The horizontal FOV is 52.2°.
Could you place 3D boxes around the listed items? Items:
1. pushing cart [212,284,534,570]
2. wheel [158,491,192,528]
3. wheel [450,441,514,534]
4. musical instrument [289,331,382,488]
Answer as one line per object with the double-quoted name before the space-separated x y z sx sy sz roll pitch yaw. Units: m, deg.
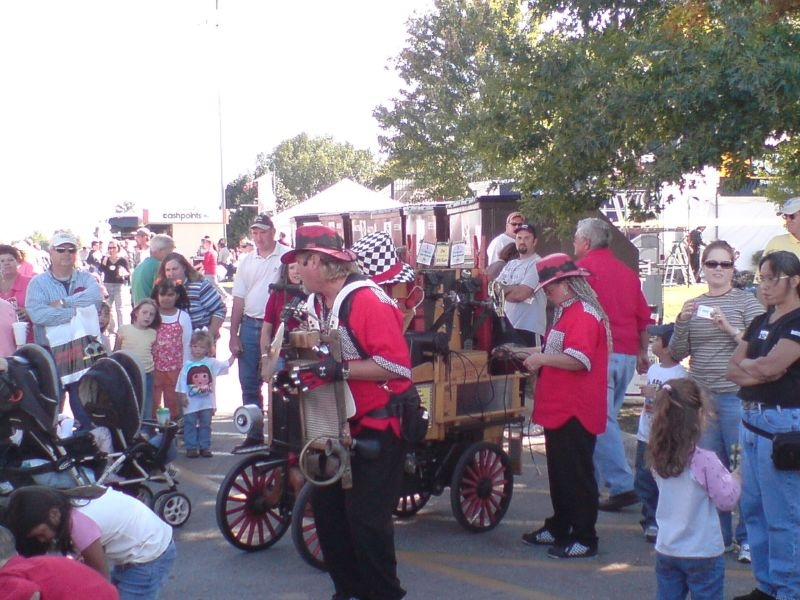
"pushing cart" -0.012 0.717 6.907 2.281 2.032 1.131 4 9 -46
"wheel" -1.915 1.823 7.172 0.243 0.272 0.117 5 -3 34
"wheel" 0.699 1.595 6.977 0.119 0.824 0.800 4 -6 44
"musical instrument" -0.407 0.663 5.253 0.541 1.005 0.290 -4 -4 42
